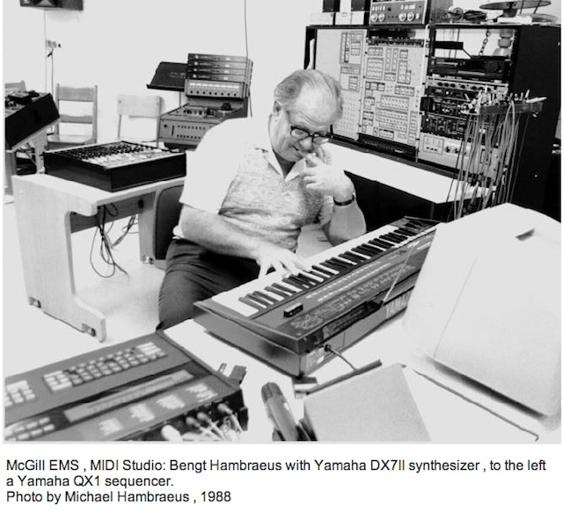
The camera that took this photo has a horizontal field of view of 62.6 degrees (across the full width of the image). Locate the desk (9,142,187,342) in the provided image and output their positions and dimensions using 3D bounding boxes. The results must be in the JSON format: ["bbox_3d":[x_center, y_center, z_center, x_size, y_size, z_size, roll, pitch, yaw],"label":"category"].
[{"bbox_3d":[-0.878,-0.093,2.534,0.594,0.732,0.832,14,22,27],"label":"desk"}]

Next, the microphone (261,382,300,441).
[{"bbox_3d":[-0.003,0.290,0.905,0.032,0.042,0.143,27,15,-20],"label":"microphone"}]
